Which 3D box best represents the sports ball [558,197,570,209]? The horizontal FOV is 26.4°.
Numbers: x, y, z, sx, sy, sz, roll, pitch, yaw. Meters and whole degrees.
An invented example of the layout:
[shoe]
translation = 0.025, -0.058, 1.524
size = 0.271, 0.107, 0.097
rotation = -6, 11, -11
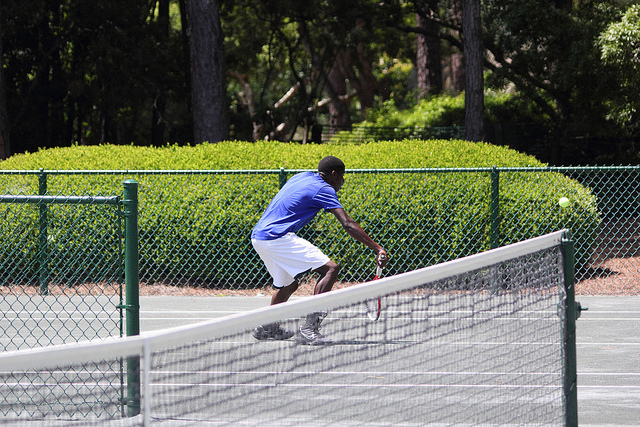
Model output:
[sports ball]
translation = 5.824, -0.246, 32.485
size = 0.272, 0.156, 0.271
rotation = -5, 4, 0
